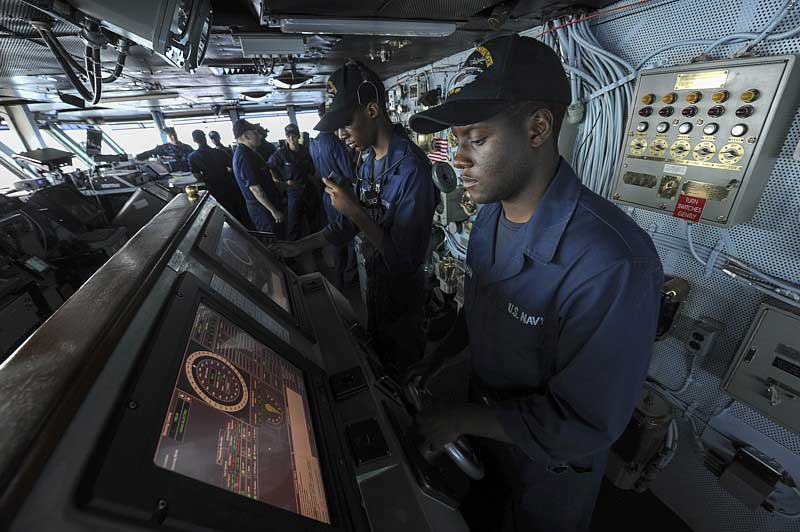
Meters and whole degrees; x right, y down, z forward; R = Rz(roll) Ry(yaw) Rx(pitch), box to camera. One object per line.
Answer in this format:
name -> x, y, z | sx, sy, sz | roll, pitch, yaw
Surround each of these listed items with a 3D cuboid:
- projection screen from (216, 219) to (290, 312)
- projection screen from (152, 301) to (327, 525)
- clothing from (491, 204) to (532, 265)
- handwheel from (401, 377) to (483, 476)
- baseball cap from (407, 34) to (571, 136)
projection screen -> -0.709, -0.004, 1.994 | 0.250, 0.320, 0.511 | -14, 31, -16
projection screen -> -0.550, 0.511, 1.380 | 0.663, 0.029, 0.723 | 29, 28, -29
clothing -> 0.416, -0.129, 1.795 | 0.144, 0.218, 0.219 | 20, 3, 10
handwheel -> 0.161, 0.678, 1.714 | 0.217, 0.195, 0.467 | -9, 29, -7
baseball cap -> 0.320, -0.673, 1.585 | 0.550, 0.257, 0.342 | -2, 17, -1
